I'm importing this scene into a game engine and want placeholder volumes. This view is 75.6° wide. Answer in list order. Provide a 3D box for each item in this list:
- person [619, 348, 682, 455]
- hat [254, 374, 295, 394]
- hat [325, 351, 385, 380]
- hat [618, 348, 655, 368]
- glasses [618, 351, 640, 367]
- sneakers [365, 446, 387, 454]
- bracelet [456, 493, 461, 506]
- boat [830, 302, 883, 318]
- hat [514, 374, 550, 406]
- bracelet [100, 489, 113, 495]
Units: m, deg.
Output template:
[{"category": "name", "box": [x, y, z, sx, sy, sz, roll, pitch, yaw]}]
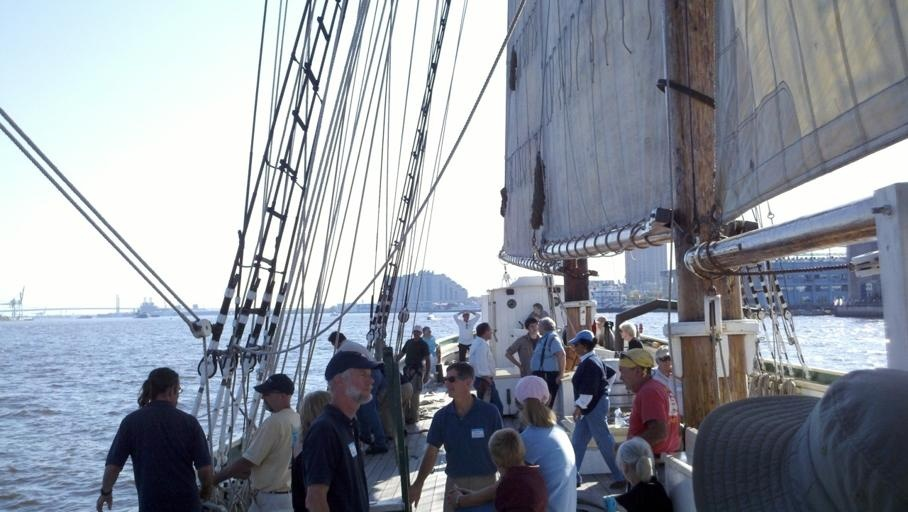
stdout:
[{"category": "person", "box": [2.119, 1.563, 6.253, 0.499, 1.555, 0.641, -9, -35, 22]}, {"category": "hat", "box": [-1.765, 1.260, 5.732, 0.303, 0.176, 0.217, 3, -7, -7]}, {"category": "hat", "box": [-0.803, 0.891, 4.545, 0.339, 0.195, 0.234, -16, -4, -9]}, {"category": "hat", "box": [2.000, 1.119, 6.427, 0.274, 0.174, 0.213, -1, -5, 19]}, {"category": "glasses", "box": [1.915, 1.127, 6.355, 0.176, 0.156, 0.134, 6, -7, 19]}, {"category": "sneakers", "box": [-1.191, 2.992, 8.999, 0.366, 0.179, 0.121, 0, 1, -9]}, {"category": "bracelet", "box": [0.041, 2.220, 5.310, 0.026, 0.079, 0.064, 9, -23, 0]}, {"category": "boat", "box": [36.247, 4.829, 52.660, 4.103, 1.155, 4.637, 1, -4, -20]}, {"category": "hat", "box": [0.754, 1.300, 5.686, 0.230, 0.189, 0.348, 0, -3, 5]}, {"category": "bracelet", "box": [-3.348, 2.281, 5.609, 0.117, 0.049, 0.106, -8, -11, 36]}]
